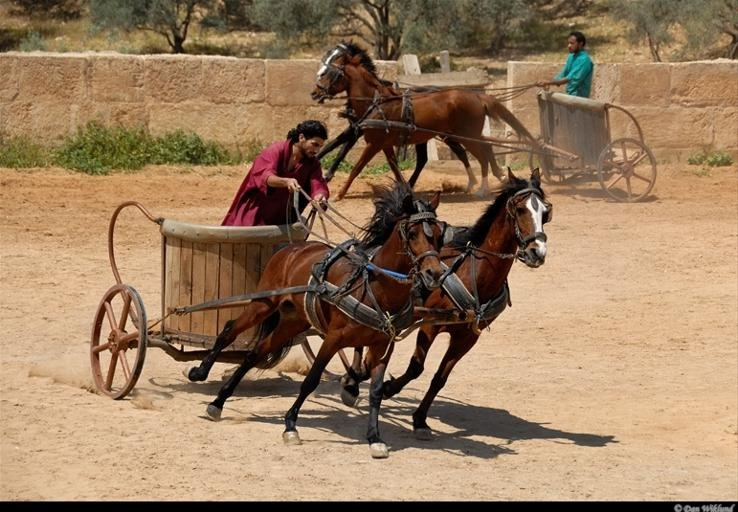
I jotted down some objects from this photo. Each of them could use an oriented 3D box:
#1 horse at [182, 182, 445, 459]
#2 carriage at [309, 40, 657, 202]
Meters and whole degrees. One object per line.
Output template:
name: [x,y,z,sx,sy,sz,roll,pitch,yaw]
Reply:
horse: [-0.619,0.775,21.545,1.926,3.882,6.205,5,3,-30]
carriage: [2.328,-2.794,29.532,7.283,2.534,3.068,0,3,-12]
